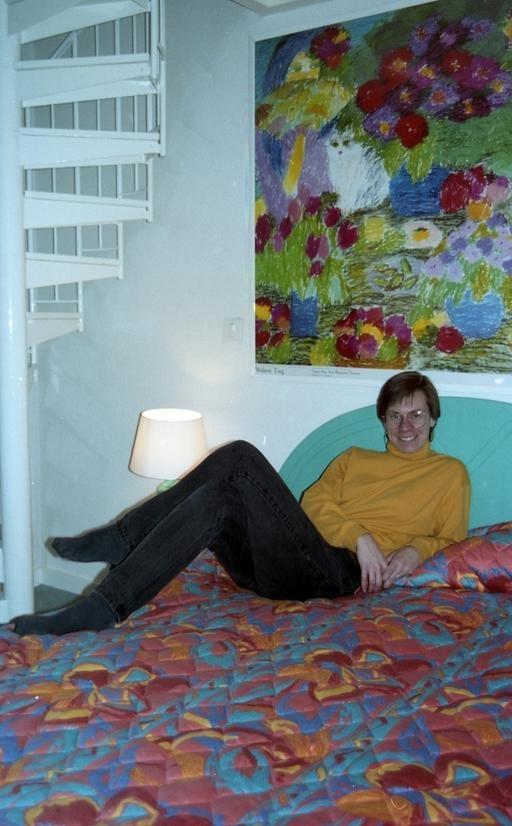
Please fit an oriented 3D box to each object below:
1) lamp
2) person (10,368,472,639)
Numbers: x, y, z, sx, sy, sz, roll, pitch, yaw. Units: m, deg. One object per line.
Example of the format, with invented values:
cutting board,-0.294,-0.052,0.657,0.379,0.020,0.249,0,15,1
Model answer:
lamp,-0.328,0.144,2.581,0.319,0.339,0.311,-10,19,-32
person,0.067,0.166,1.995,1.468,0.758,0.605,-4,4,-22
